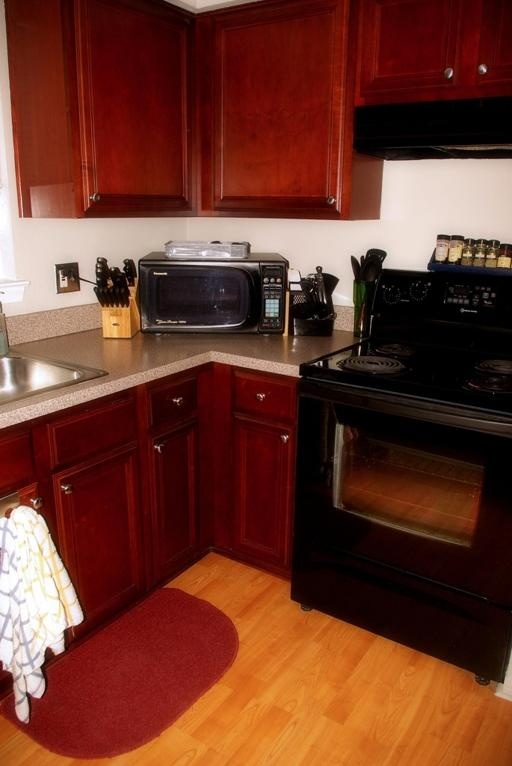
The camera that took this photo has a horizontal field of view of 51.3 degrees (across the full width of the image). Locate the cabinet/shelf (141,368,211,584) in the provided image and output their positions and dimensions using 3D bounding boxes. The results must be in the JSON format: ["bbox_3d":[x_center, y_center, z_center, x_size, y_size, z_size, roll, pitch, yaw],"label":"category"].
[{"bbox_3d":[-0.254,0.309,1.746,0.104,0.710,0.364,5,12,22],"label":"cabinet/shelf"}]

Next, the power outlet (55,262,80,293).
[{"bbox_3d":[-0.679,-0.384,1.920,0.010,0.107,0.094,15,24,30],"label":"power outlet"}]

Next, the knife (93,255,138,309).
[{"bbox_3d":[-0.491,-0.356,1.891,0.133,0.199,0.051,0,12,2],"label":"knife"}]

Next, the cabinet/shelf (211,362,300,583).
[{"bbox_3d":[-0.008,0.291,1.800,0.378,0.703,0.107,9,14,36],"label":"cabinet/shelf"}]
